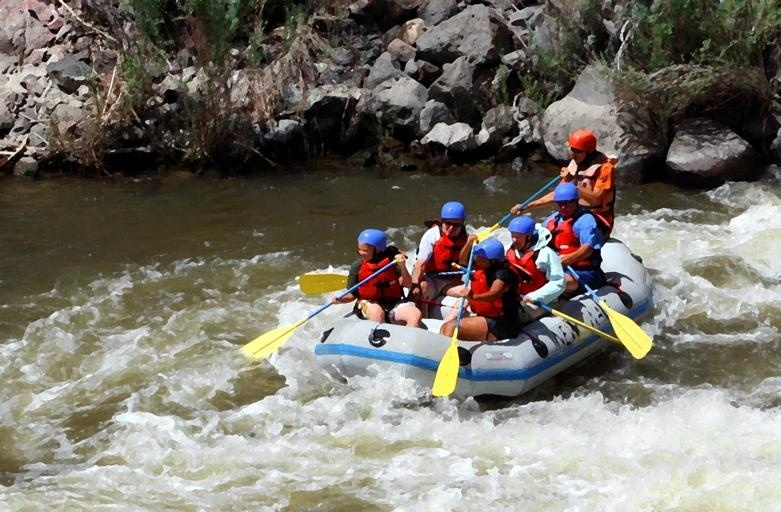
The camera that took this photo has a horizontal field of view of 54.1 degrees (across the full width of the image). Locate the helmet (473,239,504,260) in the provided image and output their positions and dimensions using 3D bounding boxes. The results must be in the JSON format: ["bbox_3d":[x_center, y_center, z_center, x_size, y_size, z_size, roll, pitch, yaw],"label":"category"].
[{"bbox_3d":[1.159,-0.050,8.947,0.307,0.158,0.228,16,-4,-21],"label":"helmet"}]

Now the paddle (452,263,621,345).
[{"bbox_3d":[1.738,0.615,9.212,2.078,0.219,0.126,26,2,5],"label":"paddle"}]

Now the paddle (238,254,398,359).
[{"bbox_3d":[-0.933,0.712,9.792,2.162,0.105,0.352,-32,69,-6],"label":"paddle"}]

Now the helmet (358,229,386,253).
[{"bbox_3d":[-0.202,-0.198,9.282,0.305,0.178,0.253,28,7,-5],"label":"helmet"}]

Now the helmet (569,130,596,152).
[{"bbox_3d":[2.559,-1.580,10.444,0.390,0.207,0.314,24,33,32],"label":"helmet"}]

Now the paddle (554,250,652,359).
[{"bbox_3d":[2.556,0.511,9.373,0.481,0.085,1.744,-33,60,-11],"label":"paddle"}]

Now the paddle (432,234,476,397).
[{"bbox_3d":[0.835,0.679,9.188,0.277,0.193,2.431,14,49,4],"label":"paddle"}]

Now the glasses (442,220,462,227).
[{"bbox_3d":[0.776,-0.396,9.566,0.210,0.093,0.077,-4,23,1],"label":"glasses"}]

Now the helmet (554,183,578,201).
[{"bbox_3d":[2.224,-0.790,9.740,0.289,0.248,0.254,1,24,13],"label":"helmet"}]

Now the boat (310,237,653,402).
[{"bbox_3d":[1.678,0.899,9.270,3.032,0.677,1.804,-28,49,-31],"label":"boat"}]

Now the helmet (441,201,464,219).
[{"bbox_3d":[0.778,-0.557,9.580,0.281,0.216,0.265,0,23,11],"label":"helmet"}]

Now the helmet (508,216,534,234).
[{"bbox_3d":[1.612,-0.356,9.393,0.310,0.255,0.373,0,23,11],"label":"helmet"}]
